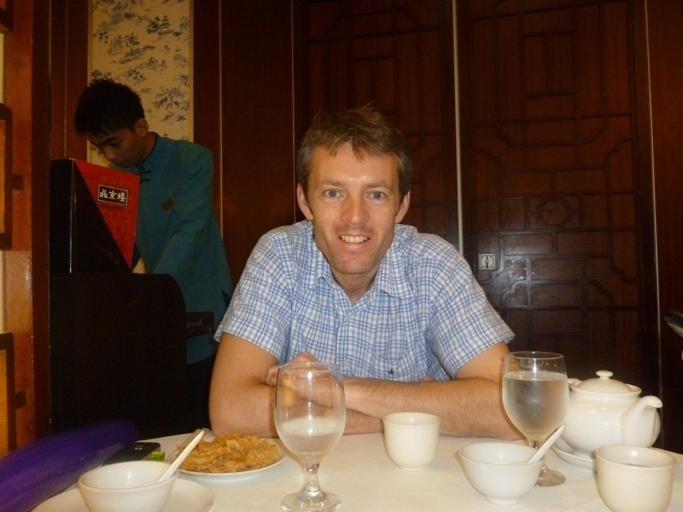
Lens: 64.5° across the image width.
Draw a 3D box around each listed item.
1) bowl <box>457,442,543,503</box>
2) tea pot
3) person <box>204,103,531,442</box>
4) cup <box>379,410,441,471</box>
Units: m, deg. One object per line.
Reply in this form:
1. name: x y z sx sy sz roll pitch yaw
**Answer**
1. bowl: 0.328 0.433 1.115 0.115 0.072 0.122 0 -17 0
2. tea pot: 0.599 0.357 1.277 0.161 0.162 0.230 4 -11 -23
3. person: 0.060 -0.006 1.804 0.997 1.027 0.725 0 0 7
4. cup: 0.162 0.435 1.273 0.105 0.091 0.114 0 -12 0
